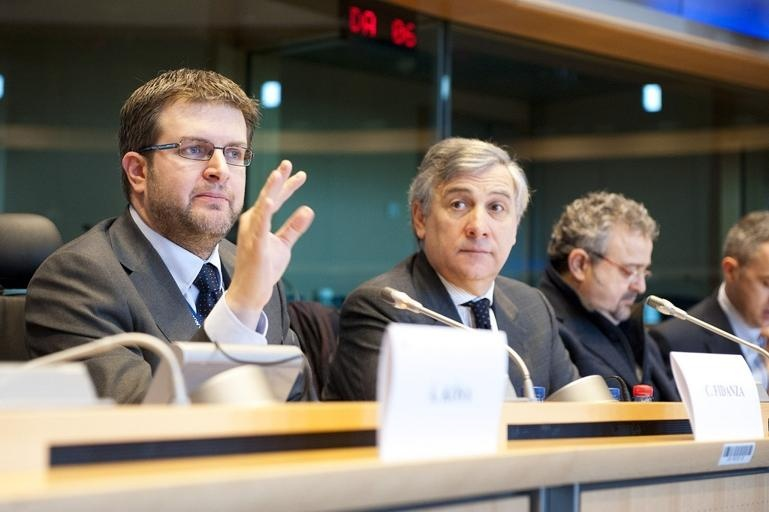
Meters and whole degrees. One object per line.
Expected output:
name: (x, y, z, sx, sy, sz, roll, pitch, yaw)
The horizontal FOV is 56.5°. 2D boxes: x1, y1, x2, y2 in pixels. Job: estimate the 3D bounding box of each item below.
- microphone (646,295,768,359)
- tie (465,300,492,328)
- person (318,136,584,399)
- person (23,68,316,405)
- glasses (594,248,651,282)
microphone: (1.414, 0.312, 3.089, 0.613, 0.066, 0.062, 26, 36, 19)
tie: (0.318, 0.188, 2.401, 0.083, 0.095, 0.028, -5, -1, 22)
person: (0.279, 0.213, 2.535, 0.912, 1.171, 0.706, 6, -9, -25)
person: (-0.580, -0.116, 2.063, 0.771, 0.984, 0.939, 1, -2, -31)
glasses: (0.973, 0.041, 2.913, 0.273, 0.126, 0.107, 1, -2, -23)
